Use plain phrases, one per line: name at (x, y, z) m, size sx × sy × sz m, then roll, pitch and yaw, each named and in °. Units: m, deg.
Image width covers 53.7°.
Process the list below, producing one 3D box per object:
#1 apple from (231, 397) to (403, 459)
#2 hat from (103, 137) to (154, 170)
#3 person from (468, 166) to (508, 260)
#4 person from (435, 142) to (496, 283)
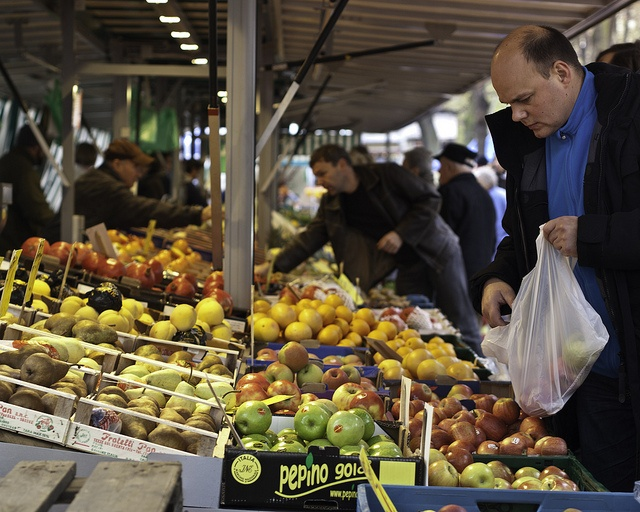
apple at (-0.012, 0.543, 2.187) m, size 0.406 × 0.185 × 0.467 m, roll -3°, pitch 7°, yaw -26°
hat at (-1.824, -1.005, 6.021) m, size 0.345 × 0.202 × 0.246 m, roll 8°, pitch 16°, yaw -15°
person at (2.698, -0.803, 9.867) m, size 0.527 × 1.988 × 0.568 m, roll -13°, pitch -44°, yaw 11°
person at (1.612, -0.549, 7.072) m, size 0.630 × 2.271 × 0.722 m, roll 2°, pitch 9°, yaw 10°
